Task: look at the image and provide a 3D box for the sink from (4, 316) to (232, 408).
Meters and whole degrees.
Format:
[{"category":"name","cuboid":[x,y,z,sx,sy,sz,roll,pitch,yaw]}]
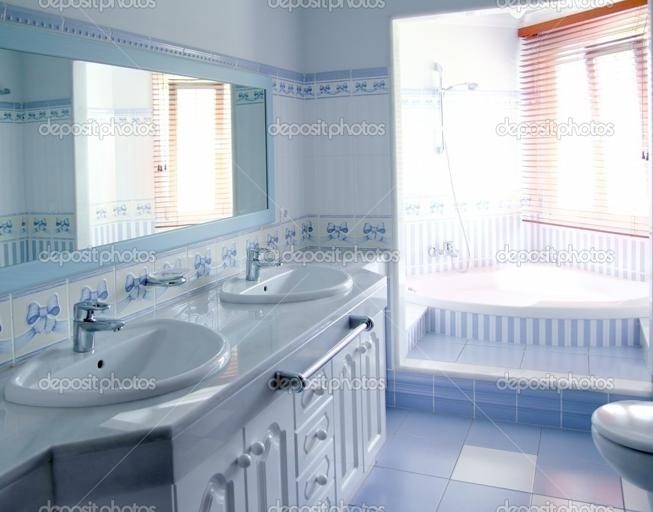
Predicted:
[{"category":"sink","cuboid":[-0.557,0.327,1.458,0.545,0.148,0.495,1,12,-4]}]
